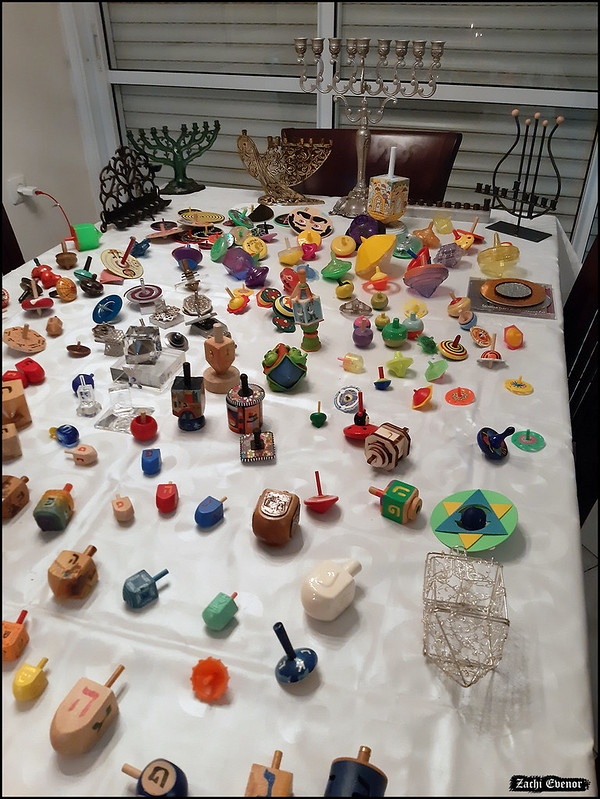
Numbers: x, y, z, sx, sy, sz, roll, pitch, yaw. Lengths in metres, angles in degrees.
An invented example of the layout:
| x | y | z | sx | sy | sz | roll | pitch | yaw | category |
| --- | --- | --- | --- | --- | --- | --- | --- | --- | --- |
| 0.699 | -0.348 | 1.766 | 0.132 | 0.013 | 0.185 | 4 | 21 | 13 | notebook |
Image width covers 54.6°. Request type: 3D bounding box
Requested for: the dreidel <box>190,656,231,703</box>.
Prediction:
| x | y | z | sx | sy | sz | roll | pitch | yaw | category |
| --- | --- | --- | --- | --- | --- | --- | --- | --- | --- |
| -0.117 | 0.364 | 0.750 | 0.049 | 0.028 | 0.052 | 5 | 42 | 7 | dreidel |

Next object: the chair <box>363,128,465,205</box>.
| x | y | z | sx | sy | sz | roll | pitch | yaw | category |
| --- | --- | --- | --- | --- | --- | --- | --- | --- | --- |
| 0.534 | -1.038 | 2.799 | 0.362 | 0.439 | 0.367 | 23 | 45 | 26 | chair |

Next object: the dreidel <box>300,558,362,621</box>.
| x | y | z | sx | sy | sz | roll | pitch | yaw | category |
| --- | --- | --- | --- | --- | --- | --- | --- | --- | --- |
| 0.051 | 0.278 | 0.867 | 0.064 | 0.057 | 0.111 | 19 | 33 | 30 | dreidel |

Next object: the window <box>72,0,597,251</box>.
| x | y | z | sx | sy | sz | roll | pitch | yaw | category |
| --- | --- | --- | --- | --- | --- | --- | --- | --- | --- |
| 0.269 | -1.422 | 2.922 | 2.265 | 1.404 | 0.549 | 6 | 18 | 11 | window |

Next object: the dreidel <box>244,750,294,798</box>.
| x | y | z | sx | sy | sz | roll | pitch | yaw | category |
| --- | --- | --- | --- | --- | --- | --- | --- | --- | --- |
| -0.036 | 0.412 | 0.628 | 0.038 | 0.038 | 0.068 | 5 | 3 | 5 | dreidel |

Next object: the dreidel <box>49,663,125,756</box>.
| x | y | z | sx | sy | sz | roll | pitch | yaw | category |
| --- | --- | --- | --- | --- | --- | --- | --- | --- | --- |
| -0.250 | 0.366 | 0.695 | 0.045 | 0.029 | 0.093 | 17 | 36 | 20 | dreidel |

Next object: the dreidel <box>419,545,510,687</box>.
| x | y | z | sx | sy | sz | roll | pitch | yaw | category |
| --- | --- | --- | --- | --- | --- | --- | --- | --- | --- |
| 0.230 | 0.317 | 0.858 | 0.153 | 0.161 | 0.166 | -14 | 65 | 41 | dreidel |

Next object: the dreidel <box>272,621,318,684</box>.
| x | y | z | sx | sy | sz | roll | pitch | yaw | category |
| --- | --- | --- | --- | --- | --- | --- | --- | --- | --- |
| -0.017 | 0.322 | 0.758 | 0.058 | 0.061 | 0.056 | -18 | 14 | 19 | dreidel |

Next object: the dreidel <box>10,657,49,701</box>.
| x | y | z | sx | sy | sz | roll | pitch | yaw | category |
| --- | --- | --- | --- | --- | --- | --- | --- | --- | --- |
| -0.344 | 0.356 | 0.748 | 0.028 | 0.025 | 0.049 | 10 | 37 | 5 | dreidel |

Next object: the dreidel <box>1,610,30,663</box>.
| x | y | z | sx | sy | sz | roll | pitch | yaw | category |
| --- | --- | --- | --- | --- | --- | --- | --- | --- | --- |
| -0.381 | 0.327 | 0.795 | 0.030 | 0.023 | 0.052 | 2 | 39 | 2 | dreidel |

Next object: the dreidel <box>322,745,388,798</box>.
| x | y | z | sx | sy | sz | roll | pitch | yaw | category |
| --- | --- | --- | --- | --- | --- | --- | --- | --- | --- |
| 0.060 | 0.410 | 0.636 | 0.038 | 0.034 | 0.056 | -2 | 28 | 22 | dreidel |
